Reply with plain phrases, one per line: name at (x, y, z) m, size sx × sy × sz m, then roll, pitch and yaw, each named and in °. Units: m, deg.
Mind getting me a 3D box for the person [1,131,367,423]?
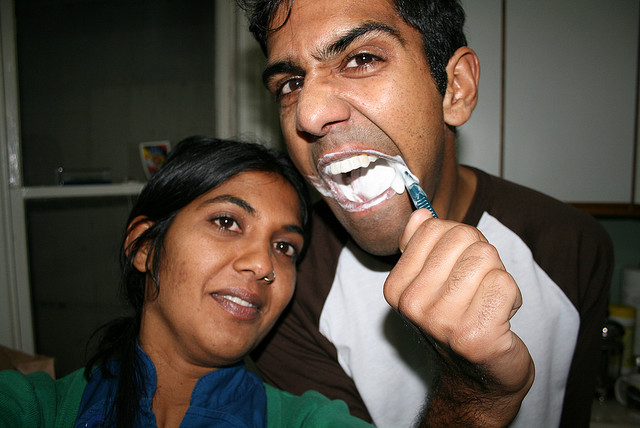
person at (-0.450, 0.225, 2.101) m, size 1.125 × 1.029 × 0.331 m, roll 2°, pitch 2°, yaw 2°
